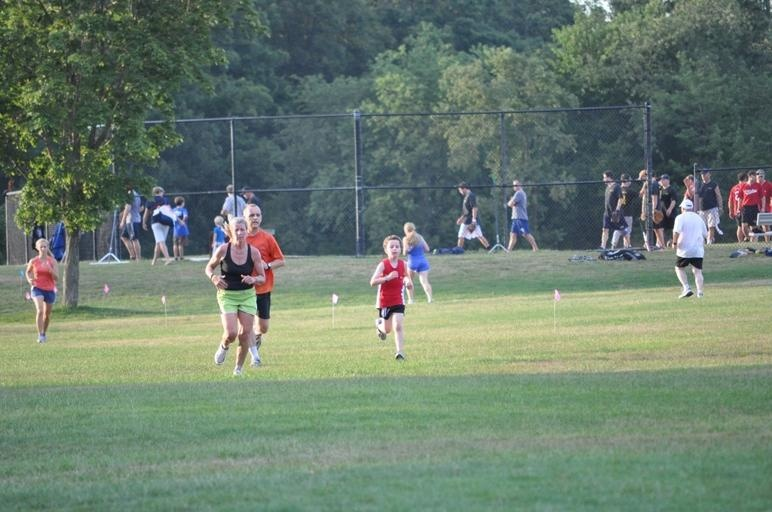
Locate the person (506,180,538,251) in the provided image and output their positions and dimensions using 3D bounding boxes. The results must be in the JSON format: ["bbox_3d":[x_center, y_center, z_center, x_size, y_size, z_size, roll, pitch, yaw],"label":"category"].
[{"bbox_3d":[5.130,-1.470,57.535,1.432,3.477,1.184,2,-2,-5],"label":"person"}]

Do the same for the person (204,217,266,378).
[{"bbox_3d":[-4.153,1.093,41.721,1.468,4.228,1.014,-2,0,-8],"label":"person"}]

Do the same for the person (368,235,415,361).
[{"bbox_3d":[0.146,1.154,43.060,0.985,3.353,1.542,-2,0,1],"label":"person"}]

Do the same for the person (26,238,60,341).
[{"bbox_3d":[-10.646,0.960,46.571,1.071,2.788,1.297,0,1,-15],"label":"person"}]

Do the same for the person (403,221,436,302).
[{"bbox_3d":[1.132,0.178,49.269,1.046,2.560,1.124,0,-1,-7],"label":"person"}]
